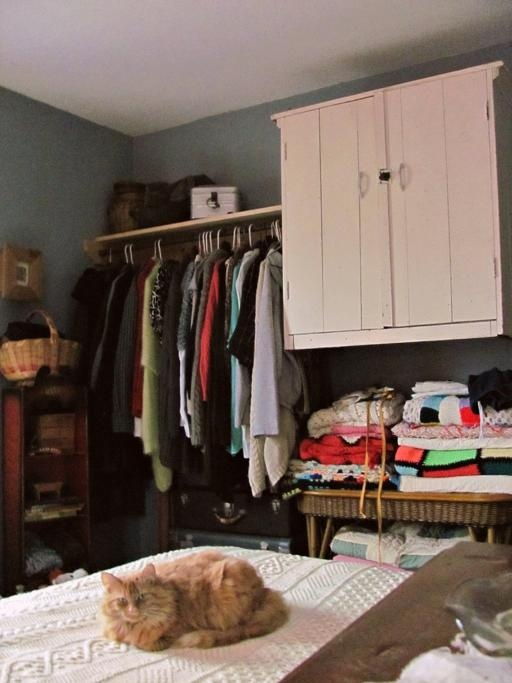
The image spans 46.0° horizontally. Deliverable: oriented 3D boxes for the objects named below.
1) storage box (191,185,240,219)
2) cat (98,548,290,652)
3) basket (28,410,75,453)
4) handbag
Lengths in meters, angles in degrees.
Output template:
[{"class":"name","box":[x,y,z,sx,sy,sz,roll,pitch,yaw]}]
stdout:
[{"class":"storage box","box":[-0.197,-0.674,2.909,0.239,0.165,0.085,-2,-8,-1]},{"class":"cat","box":[-0.079,0.350,0.881,0.193,0.071,0.137,3,-9,-33]},{"class":"basket","box":[-0.902,0.390,2.635,0.097,0.186,0.209,-6,-7,34]},{"class":"handbag","box":[-0.103,0.740,2.640,0.610,0.189,0.113,-7,-10,35]}]
